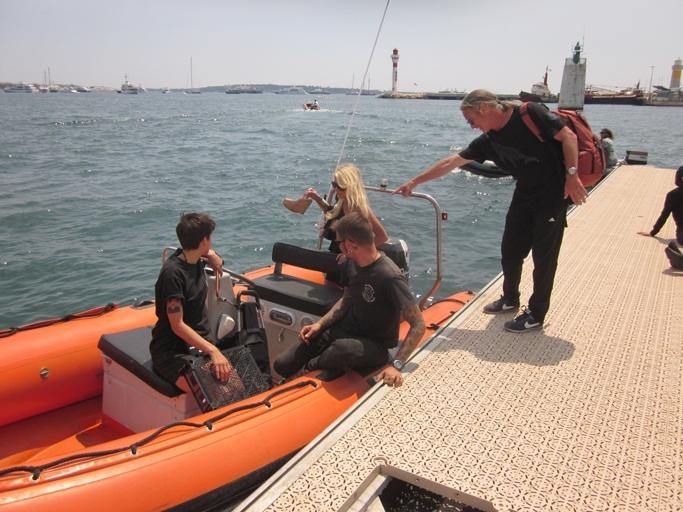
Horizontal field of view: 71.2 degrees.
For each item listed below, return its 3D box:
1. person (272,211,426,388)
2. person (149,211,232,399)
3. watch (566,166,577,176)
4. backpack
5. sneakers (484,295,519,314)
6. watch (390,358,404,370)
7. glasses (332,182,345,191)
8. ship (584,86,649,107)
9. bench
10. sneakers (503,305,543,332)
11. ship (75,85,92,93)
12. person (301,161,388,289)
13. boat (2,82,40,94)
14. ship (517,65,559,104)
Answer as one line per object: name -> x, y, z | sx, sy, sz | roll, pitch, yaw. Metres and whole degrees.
person -> 0.091, 0.361, 3.314 | 0.996, 1.268, 0.408 | 14, 23, 30
person -> -1.020, 0.291, 3.129 | 0.499, 1.090, 0.516 | -6, 21, -21
watch -> 1.599, -0.587, 3.299 | 0.047, 0.069, 0.072 | -2, 13, 42
backpack -> 1.627, -0.821, 3.544 | 0.634, 0.580, 0.437 | 9, 20, 18
sneakers -> 1.338, 0.424, 4.068 | 0.339, 0.125, 0.116 | 2, 4, -2
watch -> 0.369, 0.723, 3.214 | 0.092, 0.057, 0.090 | 37, -20, -2
glasses -> -0.019, -0.576, 4.051 | 0.101, 0.028, 0.092 | 17, 8, -38
ship -> 39.453, -22.872, 68.903 | 8.919, 1.874, 4.489 | -3, 19, -16
bench -> -0.345, 0.260, 4.094 | 0.975, 0.591, 0.519 | 6, 33, 42
sneakers -> 1.478, 0.520, 3.773 | 0.382, 0.142, 0.128 | -1, 5, -11
ship -> -90.410, -57.660, 167.121 | 4.251, 1.739, 18.777 | -8, 20, -29
person -> 0.010, -0.108, 4.339 | 0.888, 1.262, 0.451 | 16, 21, 25
boat -> -96.779, -49.915, 143.416 | 8.466, 2.602, 14.280 | -7, 20, -26
ship -> 25.572, -21.985, 61.993 | 8.786, 4.355, 2.620 | -19, 32, -38
